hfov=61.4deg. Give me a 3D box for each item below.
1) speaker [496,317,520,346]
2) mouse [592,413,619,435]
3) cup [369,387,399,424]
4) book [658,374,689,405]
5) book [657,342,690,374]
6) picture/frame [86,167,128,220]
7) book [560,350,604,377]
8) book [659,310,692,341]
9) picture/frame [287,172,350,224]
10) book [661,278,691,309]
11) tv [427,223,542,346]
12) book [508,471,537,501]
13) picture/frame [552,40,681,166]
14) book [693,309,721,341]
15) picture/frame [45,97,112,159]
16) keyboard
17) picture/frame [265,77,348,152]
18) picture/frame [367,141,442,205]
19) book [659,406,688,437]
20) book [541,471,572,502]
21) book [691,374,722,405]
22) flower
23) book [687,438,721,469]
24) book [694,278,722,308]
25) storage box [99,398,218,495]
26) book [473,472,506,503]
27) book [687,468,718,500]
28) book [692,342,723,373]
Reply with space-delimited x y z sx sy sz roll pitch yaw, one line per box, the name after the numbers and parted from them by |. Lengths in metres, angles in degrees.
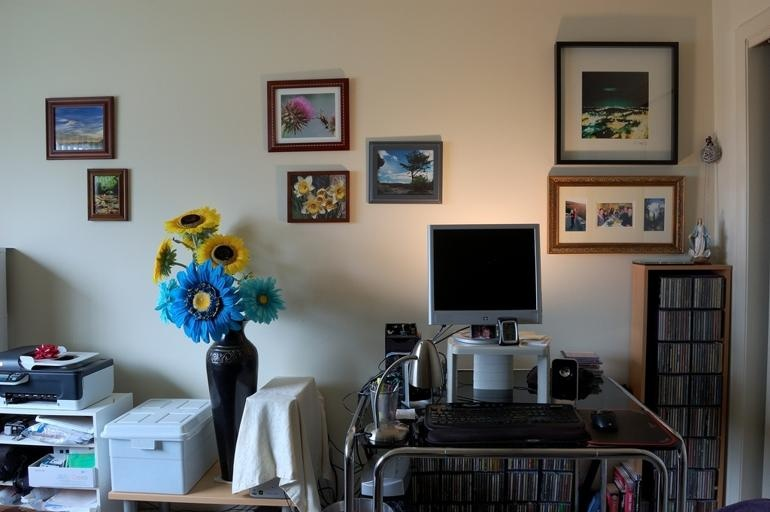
0.684 0.417 3.673 0.135 0.171 0.139 -1 -15 3 | speaker
1.147 0.863 3.390 0.120 0.088 0.098 1 3 -11 | mouse
-0.005 0.780 3.369 0.153 0.159 0.158 -1 -8 0 | cup
1.765 0.809 4.035 0.179 0.181 0.186 1 1 7 | book
1.751 0.603 3.970 0.188 0.189 0.175 1 1 4 | book
-1.828 -0.416 4.258 0.348 0.453 0.034 0 -1 -1 | picture/frame
1.248 0.644 3.995 0.177 0.079 0.229 1 3 12 | book
1.760 0.422 3.930 0.192 0.193 0.177 1 2 3 | book
-0.420 -0.392 4.186 0.337 0.274 0.026 0 3 1 | picture/frame
1.772 0.216 3.926 0.185 0.183 0.019 1 -1 1 | book
0.581 0.145 3.740 0.696 0.684 0.246 0 -8 2 | tv
0.840 1.379 3.931 0.185 0.178 0.020 1 2 1 | book
1.497 -1.003 4.110 0.800 0.743 0.077 -1 4 2 | picture/frame
1.958 0.404 3.928 0.191 0.215 0.022 1 0 2 | book
-2.008 -0.858 4.255 0.415 0.393 0.028 0 1 0 | picture/frame
0.612 0.834 3.380 0.810 0.120 0.208 2 3 1 | keyboard
-0.488 -0.920 4.176 0.493 0.417 0.039 0 0 1 | picture/frame
0.143 -0.550 4.153 0.416 0.340 0.031 0 3 3 | picture/frame
1.778 0.990 3.947 0.179 0.171 0.042 8 -5 -2 | book
1.039 1.379 3.923 0.194 0.173 0.031 0 4 1 | book
1.953 0.807 3.941 0.192 0.177 0.046 4 -1 0 | book
-1.049 0.135 4.043 0.843 0.880 0.491 2 3 1 | flower
1.952 1.186 3.955 0.196 0.185 0.047 4 -1 3 | book
1.956 0.215 3.924 0.192 0.173 0.046 2 1 -2 | book
-1.383 1.155 4.010 0.601 0.492 0.352 2 3 4 | storage box
0.640 1.391 3.938 0.198 0.179 0.046 -2 0 2 | book
1.946 1.383 3.960 0.186 0.176 0.044 1 -2 8 | book
1.958 0.615 3.934 0.155 0.197 0.067 2 -1 0 | book
